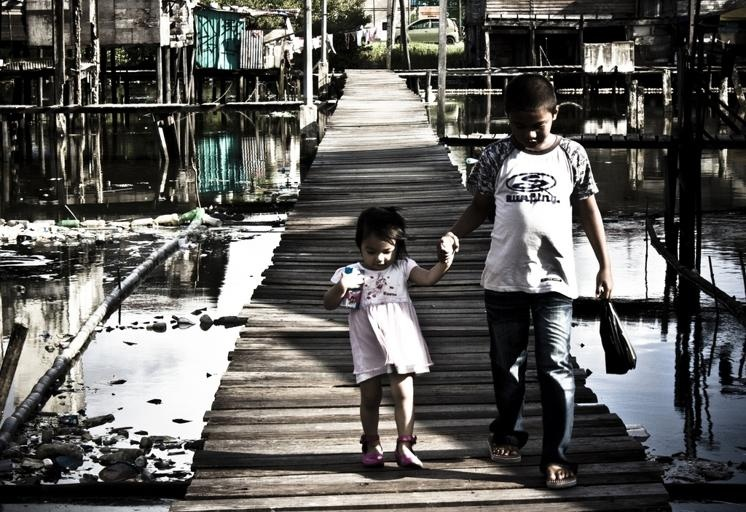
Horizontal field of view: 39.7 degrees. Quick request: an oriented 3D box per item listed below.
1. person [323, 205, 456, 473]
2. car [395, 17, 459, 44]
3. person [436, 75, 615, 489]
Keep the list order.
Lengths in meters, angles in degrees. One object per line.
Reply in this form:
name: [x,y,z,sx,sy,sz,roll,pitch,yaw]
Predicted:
person: [0.051,0.552,6.984,0.527,1.778,0.699,-13,21,-42]
car: [2.543,-10.514,47.691,2.567,1.205,3.444,1,15,-1]
person: [1.067,0.147,6.904,1.007,2.672,0.611,13,19,36]
